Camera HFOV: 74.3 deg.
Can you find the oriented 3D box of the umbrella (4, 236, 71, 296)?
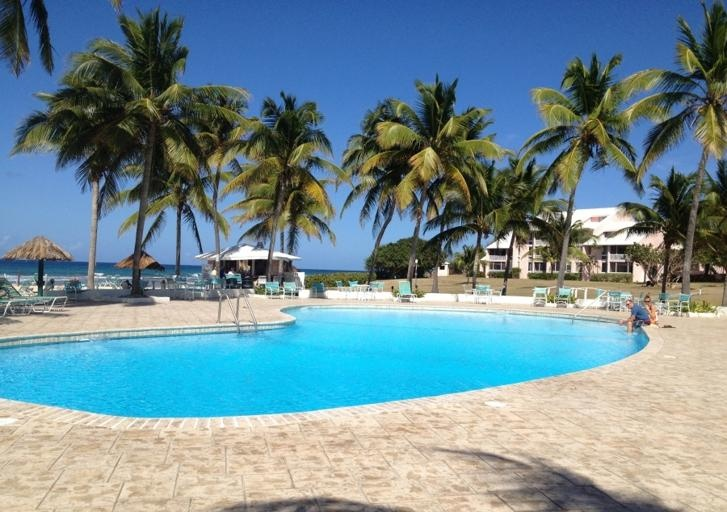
[{"bbox_3d":[-13.376,0.435,19.570,1.952,2.468,3.971,-1,2,-42],"label":"umbrella"}]

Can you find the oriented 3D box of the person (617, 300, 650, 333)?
[{"bbox_3d":[9.390,2.086,16.449,0.875,0.953,1.376,2,2,30],"label":"person"}]

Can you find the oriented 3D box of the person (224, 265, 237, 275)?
[{"bbox_3d":[-10.254,1.088,36.528,0.636,0.874,0.719,0,-4,-3],"label":"person"}]
